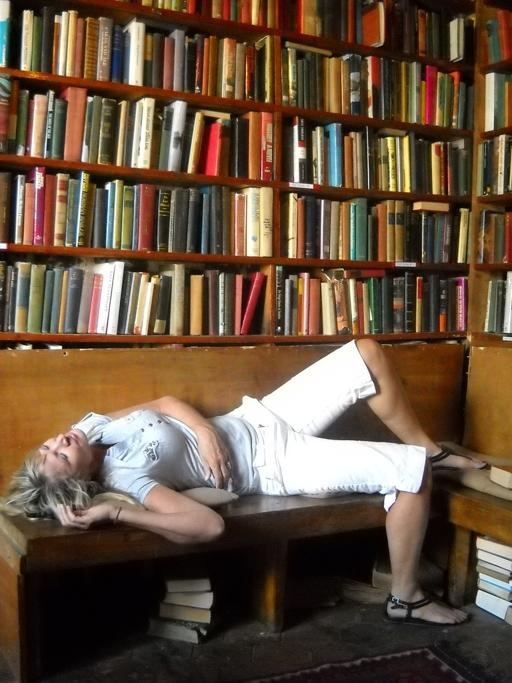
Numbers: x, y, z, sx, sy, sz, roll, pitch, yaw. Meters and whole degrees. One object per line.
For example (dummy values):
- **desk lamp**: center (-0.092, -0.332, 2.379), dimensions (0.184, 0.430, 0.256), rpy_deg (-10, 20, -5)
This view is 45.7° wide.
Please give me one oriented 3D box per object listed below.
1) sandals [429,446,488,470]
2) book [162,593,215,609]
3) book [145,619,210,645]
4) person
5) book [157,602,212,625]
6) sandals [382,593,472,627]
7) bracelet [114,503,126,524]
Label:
- **sandals**: center (0.670, 0.387, 2.067), dimensions (0.243, 0.056, 0.082), rpy_deg (0, 9, -8)
- **book**: center (-0.197, 0.741, 1.748), dimensions (0.146, 0.050, 0.014), rpy_deg (0, -1, 7)
- **book**: center (-0.226, 0.823, 1.730), dimensions (0.087, 0.019, 0.084), rpy_deg (0, -7, 23)
- **person**: center (0.042, 0.399, 1.818), dimensions (1.435, 0.535, 0.683), rpy_deg (1, 20, -17)
- **book**: center (-0.204, 0.782, 1.749), dimensions (0.088, 0.019, 0.084), rpy_deg (0, -7, 13)
- **sandals**: center (0.512, 0.792, 1.833), dimensions (0.294, 0.100, 0.092), rpy_deg (1, 6, -12)
- **bracelet**: center (-0.332, 0.415, 1.461), dimensions (0.011, 0.037, 0.029), rpy_deg (23, -17, -14)
